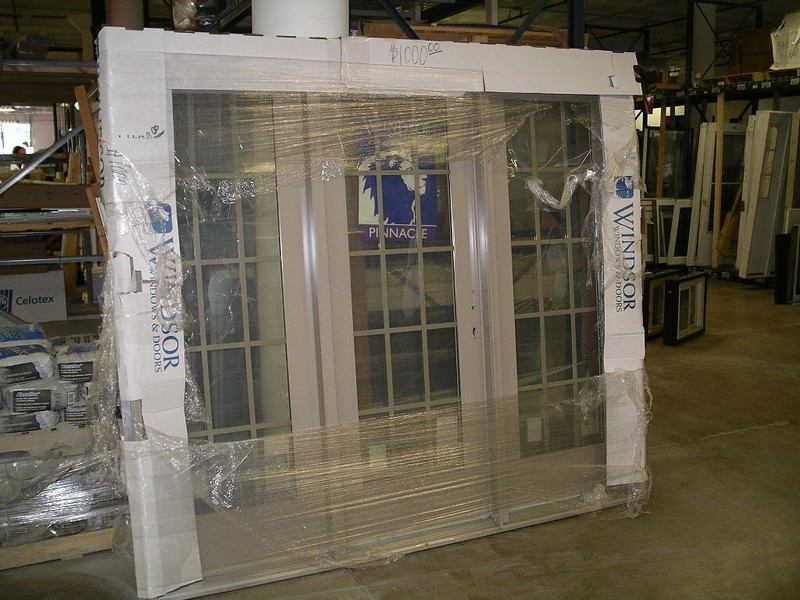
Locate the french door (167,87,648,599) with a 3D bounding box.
[{"bbox_3d":[-0.035,0.176,3.120,2.135,1.881,0.225,-3,6,-15],"label":"french door"}]
